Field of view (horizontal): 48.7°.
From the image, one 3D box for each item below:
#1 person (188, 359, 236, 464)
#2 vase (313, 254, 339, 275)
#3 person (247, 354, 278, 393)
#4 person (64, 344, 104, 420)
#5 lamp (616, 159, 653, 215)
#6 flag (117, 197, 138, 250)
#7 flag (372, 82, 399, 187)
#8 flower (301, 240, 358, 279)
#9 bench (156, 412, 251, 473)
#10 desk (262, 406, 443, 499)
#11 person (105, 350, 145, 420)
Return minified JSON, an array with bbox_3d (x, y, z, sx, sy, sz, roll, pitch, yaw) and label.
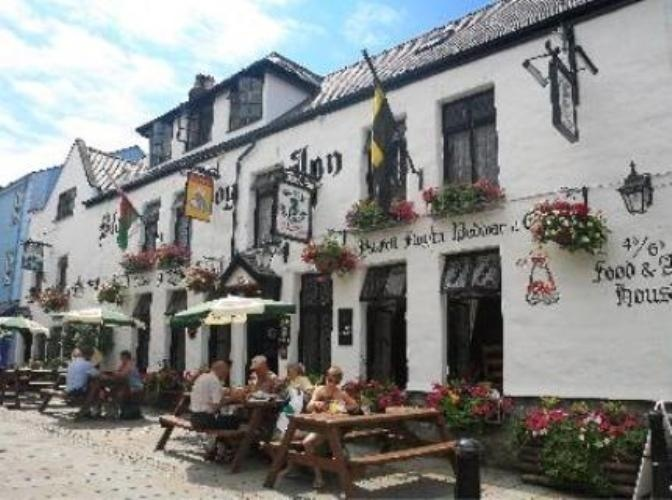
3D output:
[{"bbox_3d":[-2.275,3.054,13.915,1.026,1.829,0.914,11,-14,-39],"label":"person"},{"bbox_3d":[-0.220,0.312,15.873,0.396,0.283,0.400,2,-13,3],"label":"vase"},{"bbox_3d":[-1.457,2.466,14.632,0.542,0.743,0.939,0,-1,-26],"label":"person"},{"bbox_3d":[-6.110,3.169,17.938,0.779,1.719,1.484,4,-11,-19],"label":"person"},{"bbox_3d":[5.130,-1.088,12.762,0.525,0.934,0.471,-5,-5,24],"label":"lamp"},{"bbox_3d":[-6.501,-0.813,23.192,0.547,1.617,1.220,4,-11,-18],"label":"flag"},{"bbox_3d":[1.051,-2.461,15.522,0.452,2.256,1.006,-4,-11,24],"label":"flag"},{"bbox_3d":[-0.145,0.123,16.177,1.020,0.776,0.991,7,-5,-6],"label":"flower"},{"bbox_3d":[-2.419,3.528,13.683,2.410,0.894,0.706,-10,-14,42],"label":"bench"},{"bbox_3d":[0.069,3.274,12.048,1.951,0.722,1.674,10,-20,-40],"label":"desk"},{"bbox_3d":[-5.043,3.227,17.790,0.830,1.603,0.765,3,-10,-12],"label":"person"}]
